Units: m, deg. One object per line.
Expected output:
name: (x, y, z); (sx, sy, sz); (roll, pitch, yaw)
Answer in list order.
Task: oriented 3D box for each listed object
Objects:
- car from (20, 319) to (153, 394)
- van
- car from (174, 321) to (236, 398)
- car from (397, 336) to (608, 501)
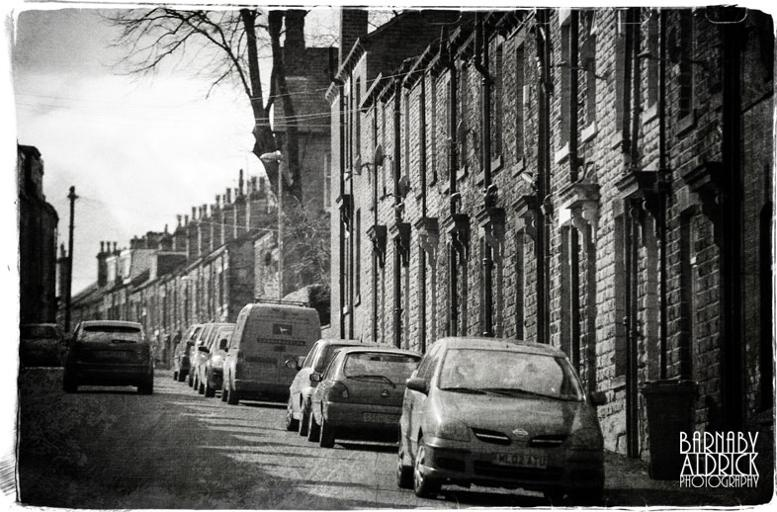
car: (-7.322, 2.350, 37.834); (2.330, 1.521, 3.924); (1, -1, -14)
van: (-3.026, 2.607, 41.814); (2.601, 2.371, 4.908); (3, -5, -6)
car: (-5.455, 2.771, 46.590); (1.215, 1.346, 3.247); (1, -2, -11)
car: (1.817, 2.576, 25.328); (3.231, 2.649, 1.862); (2, -7, 5)
